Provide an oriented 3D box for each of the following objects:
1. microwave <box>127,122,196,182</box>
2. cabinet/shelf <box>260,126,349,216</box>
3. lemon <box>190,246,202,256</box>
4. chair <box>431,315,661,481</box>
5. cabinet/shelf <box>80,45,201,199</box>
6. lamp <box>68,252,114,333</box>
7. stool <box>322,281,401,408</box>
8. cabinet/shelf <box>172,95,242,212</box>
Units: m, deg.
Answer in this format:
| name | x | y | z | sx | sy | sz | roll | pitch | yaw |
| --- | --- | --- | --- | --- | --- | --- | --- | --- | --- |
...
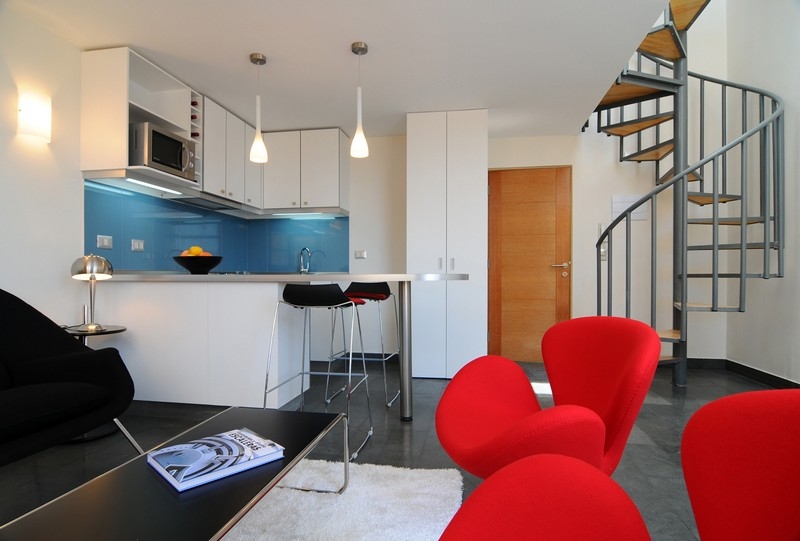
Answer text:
| name | x | y | z | sx | sy | sz | roll | pitch | yaw |
| --- | --- | --- | --- | --- | --- | --- | --- | --- | --- |
| microwave | -2.283 | -1.074 | 5.289 | 0.511 | 0.374 | 0.775 | 2 | -1 | 16 |
| cabinet/shelf | -1.036 | -1.195 | 6.988 | 1.115 | 1.009 | 0.626 | 1 | 3 | 24 |
| lemon | -1.776 | -0.166 | 4.992 | 0.097 | 0.068 | 0.123 | 2 | 8 | -7 |
| chair | 0.830 | 0.798 | 3.288 | 1.185 | 0.939 | 0.994 | -4 | 9 | -14 |
| cabinet/shelf | -2.340 | -1.325 | 5.425 | 0.545 | 1.008 | 1.028 | 3 | 1 | 9 |
| lamp | -2.527 | 0.190 | 4.739 | 0.462 | 0.616 | 0.462 | -4 | -5 | 43 |
| stool | -0.325 | 0.646 | 5.252 | 0.767 | 1.056 | 0.757 | -1 | 4 | -14 |
| cabinet/shelf | -2.068 | -1.431 | 6.728 | 0.556 | 1.463 | 1.613 | -2 | 10 | -13 |
